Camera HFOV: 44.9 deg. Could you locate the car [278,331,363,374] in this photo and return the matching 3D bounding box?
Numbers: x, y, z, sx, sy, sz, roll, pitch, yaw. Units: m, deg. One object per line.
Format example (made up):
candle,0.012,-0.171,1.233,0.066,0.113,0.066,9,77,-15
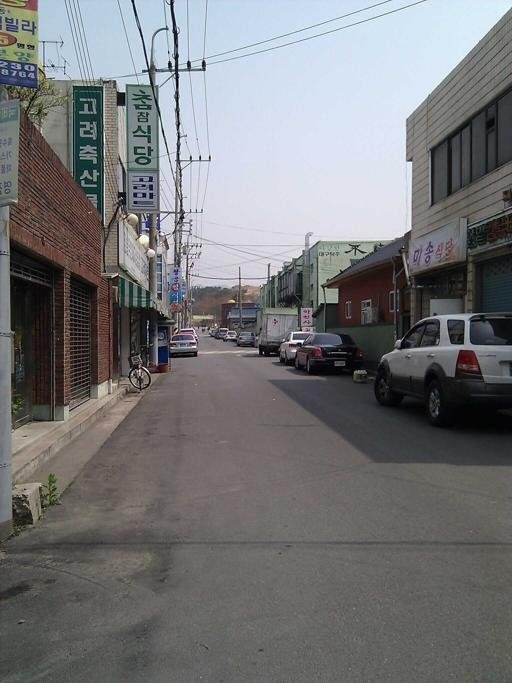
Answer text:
car,2.436,0.443,21.738,1.698,1.385,2.804,0,0,-9
